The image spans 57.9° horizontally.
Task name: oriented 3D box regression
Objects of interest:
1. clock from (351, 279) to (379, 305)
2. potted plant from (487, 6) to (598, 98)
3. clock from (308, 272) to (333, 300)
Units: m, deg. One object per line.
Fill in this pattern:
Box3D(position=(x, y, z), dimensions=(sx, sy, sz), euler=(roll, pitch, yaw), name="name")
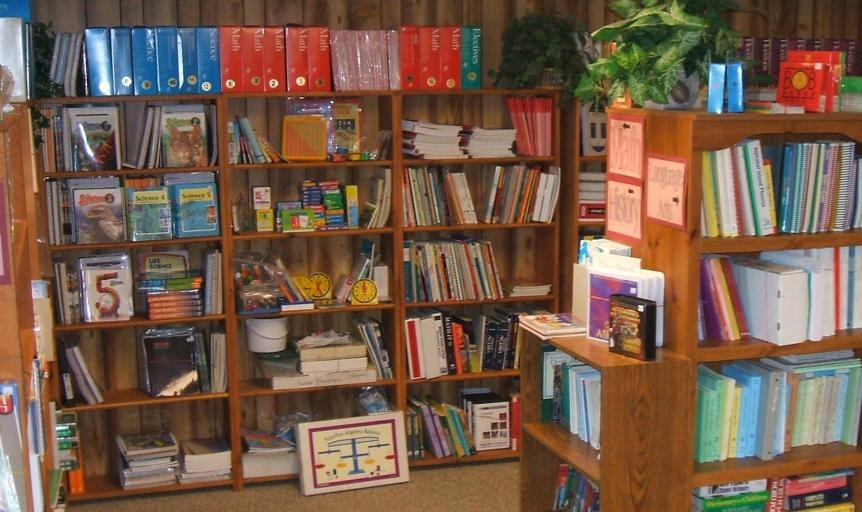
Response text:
Box3D(position=(-0.463, 0.241, 5.341), dimensions=(0.199, 0.161, 0.048), euler=(-3, 8, -5), name="clock")
Box3D(position=(0.680, -1.344, 5.510), dimensions=(0.940, 0.580, 0.678), euler=(-2, 11, -19), name="potted plant")
Box3D(position=(-0.778, 0.215, 5.410), dimensions=(0.220, 0.206, 0.031), euler=(-1, 5, -23), name="clock")
